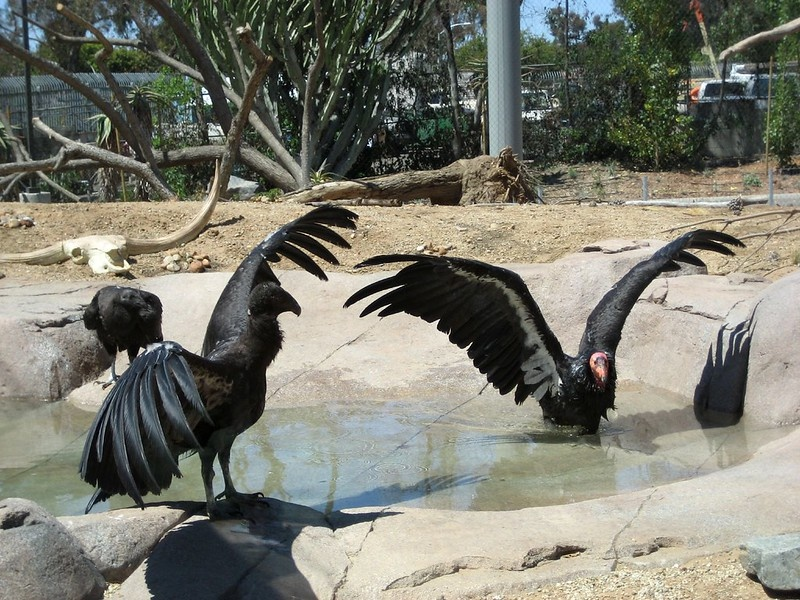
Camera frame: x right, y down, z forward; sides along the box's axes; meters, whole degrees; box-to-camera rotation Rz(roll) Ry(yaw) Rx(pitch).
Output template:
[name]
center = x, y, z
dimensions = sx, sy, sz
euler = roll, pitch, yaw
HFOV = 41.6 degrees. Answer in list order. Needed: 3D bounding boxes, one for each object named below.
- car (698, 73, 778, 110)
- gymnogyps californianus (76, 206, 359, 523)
[car]
center = 7.486, -4.682, 23.681
dimensions = 1.597, 0.722, 0.922
euler = -2, 12, 33
[gymnogyps californianus]
center = -1.452, 0.550, 8.472
dimensions = 1.500, 1.103, 2.557
euler = -1, 19, 5
